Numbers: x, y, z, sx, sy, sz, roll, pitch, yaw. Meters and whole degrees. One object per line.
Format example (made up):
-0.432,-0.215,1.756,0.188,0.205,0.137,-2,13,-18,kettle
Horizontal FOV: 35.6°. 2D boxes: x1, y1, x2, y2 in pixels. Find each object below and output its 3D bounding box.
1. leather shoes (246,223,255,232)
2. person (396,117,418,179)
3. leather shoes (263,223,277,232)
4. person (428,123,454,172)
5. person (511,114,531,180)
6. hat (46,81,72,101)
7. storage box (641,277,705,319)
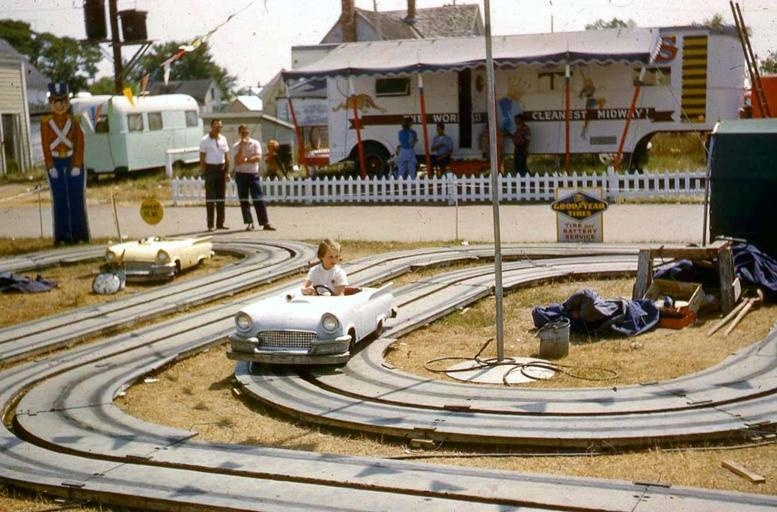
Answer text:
-3.541,-0.720,30.530,0.179,0.212,0.477,-1,-1,-3,leather shoes
0.528,-3.177,36.252,0.589,1.817,1.280,-1,12,0,person
-3.014,-0.715,30.499,0.371,0.166,0.135,-6,29,-10,leather shoes
1.574,-3.251,36.798,0.675,1.567,0.762,0,12,2,person
3.943,-3.313,36.288,0.558,1.816,0.704,2,12,11,person
-7.756,-3.855,28.295,0.435,0.403,0.789,-5,13,-17,hat
5.638,0.864,23.554,0.761,0.342,0.807,-2,37,32,storage box
